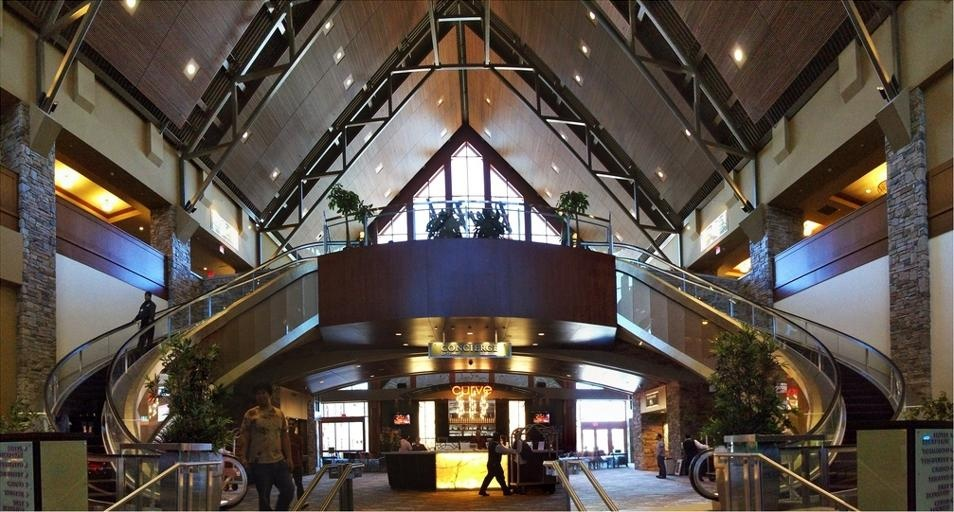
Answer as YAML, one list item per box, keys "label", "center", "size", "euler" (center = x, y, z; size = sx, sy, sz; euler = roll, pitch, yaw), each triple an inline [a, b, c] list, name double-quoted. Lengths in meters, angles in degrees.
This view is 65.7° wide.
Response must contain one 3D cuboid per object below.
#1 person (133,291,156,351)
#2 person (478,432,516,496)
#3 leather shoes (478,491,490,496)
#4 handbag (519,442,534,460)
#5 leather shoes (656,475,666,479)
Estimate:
- label: "person"
  center: [-9.908, 1.895, 22.198]
  size: [0.588, 1.768, 0.494]
  euler: [6, 20, -14]
- label: "person"
  center: [0.567, 6.265, 22.305]
  size: [0.986, 1.908, 1.582]
  euler: [-3, -21, 0]
- label: "leather shoes"
  center: [0.207, 7.002, 21.695]
  size: [0.249, 0.148, 0.423]
  euler: [-3, -21, -1]
- label: "handbag"
  center: [1.494, 5.779, 21.867]
  size: [0.478, 0.449, 0.485]
  euler: [-7, -10, 29]
- label: "leather shoes"
  center: [6.328, 7.580, 25.310]
  size: [0.256, 0.141, 0.562]
  euler: [-9, -22, 14]
